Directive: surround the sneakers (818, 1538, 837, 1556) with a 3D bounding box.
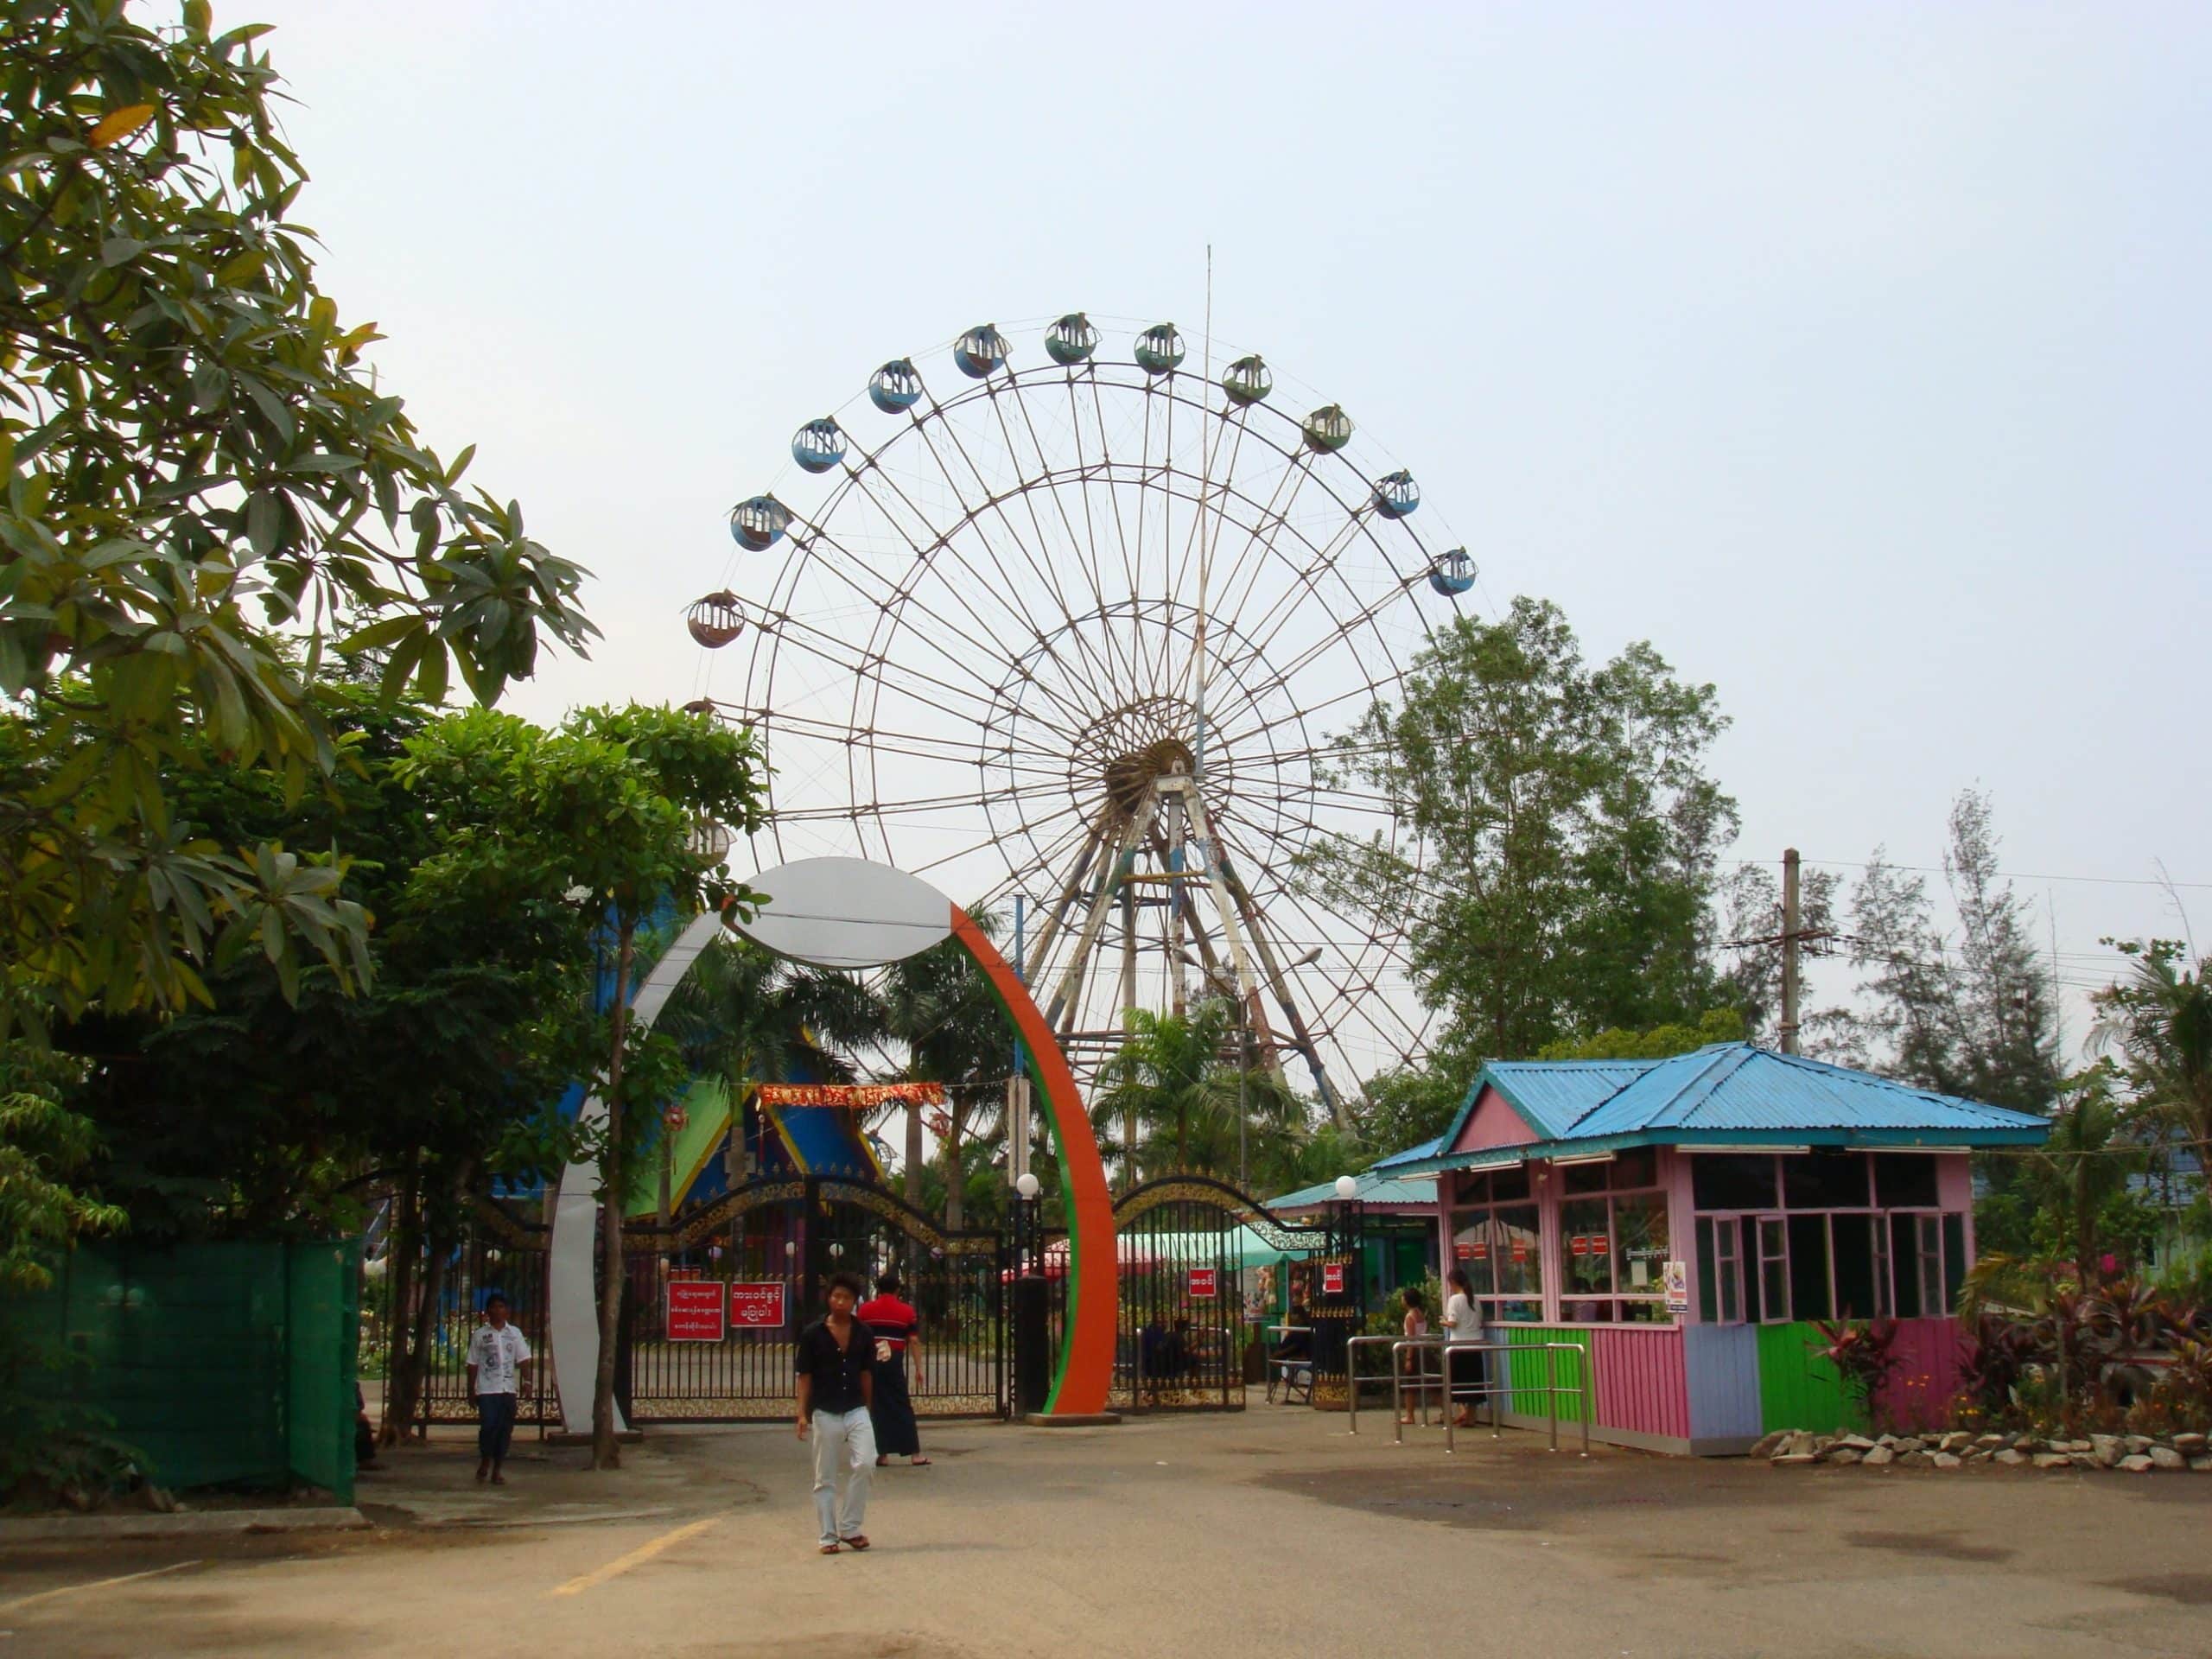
[{"bbox_3d":[-1.989,5.105,13.960,0.102,0.115,0.060,7,-32,1],"label":"sneakers"}]

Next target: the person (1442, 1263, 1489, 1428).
[{"bbox_3d":[4.483,6.488,24.720,0.506,1.916,1.612,-2,-17,11],"label":"person"}]

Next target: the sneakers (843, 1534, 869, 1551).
[{"bbox_3d":[-1.813,5.148,14.147,0.182,0.092,0.073,-2,-5,-1],"label":"sneakers"}]

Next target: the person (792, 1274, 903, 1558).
[{"bbox_3d":[-2.031,4.361,14.785,0.585,2.034,1.614,3,-17,-8],"label":"person"}]
